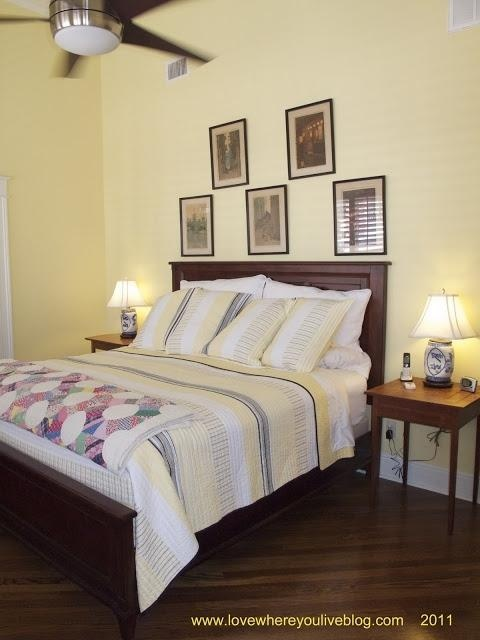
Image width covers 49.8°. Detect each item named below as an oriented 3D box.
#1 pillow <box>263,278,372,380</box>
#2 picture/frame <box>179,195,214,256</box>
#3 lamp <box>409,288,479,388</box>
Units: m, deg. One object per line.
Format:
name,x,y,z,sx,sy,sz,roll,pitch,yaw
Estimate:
pillow,0.526,0.085,2.917,0.540,0.546,0.161,12,-5,30
picture/frame,-0.333,-0.754,4.073,0.461,0.561,0.025,7,11,43
lamp,1.033,0.101,2.591,0.315,0.459,0.227,-4,6,-43
